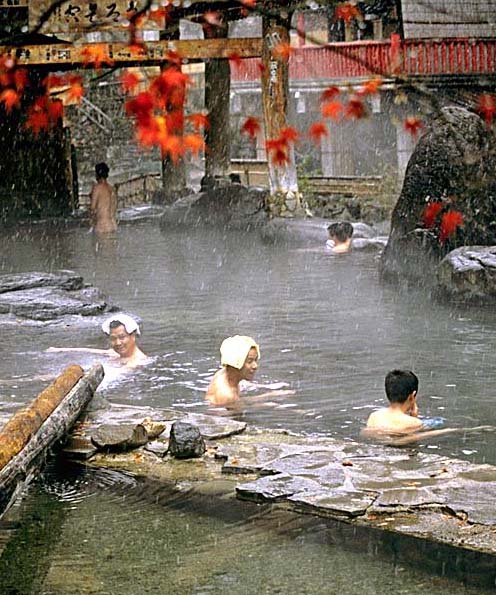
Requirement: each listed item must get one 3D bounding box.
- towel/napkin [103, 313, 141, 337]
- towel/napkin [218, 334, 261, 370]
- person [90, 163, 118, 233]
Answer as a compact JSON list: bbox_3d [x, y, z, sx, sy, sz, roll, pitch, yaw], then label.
[{"bbox_3d":[-1.181,0.249,8.887,0.331,0.178,0.337,1,8,14],"label":"towel/napkin"},{"bbox_3d":[-0.050,0.425,7.386,0.190,0.253,0.296,1,-31,20],"label":"towel/napkin"},{"bbox_3d":[-2.791,-1.755,18.599,0.516,1.070,1.645,-2,8,-9],"label":"person"}]
